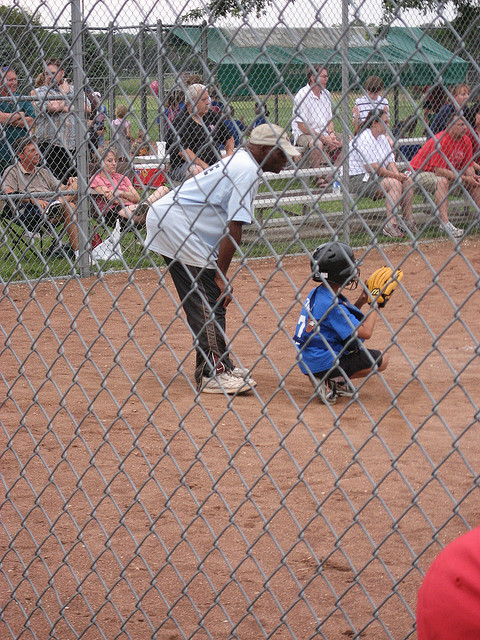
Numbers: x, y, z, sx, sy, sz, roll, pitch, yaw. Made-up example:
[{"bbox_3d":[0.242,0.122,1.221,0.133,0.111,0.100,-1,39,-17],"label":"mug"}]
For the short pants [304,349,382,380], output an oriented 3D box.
[{"bbox_3d":[0.495,0.213,4.667,0.352,0.143,0.107,-16,31,-19],"label":"short pants"}]
